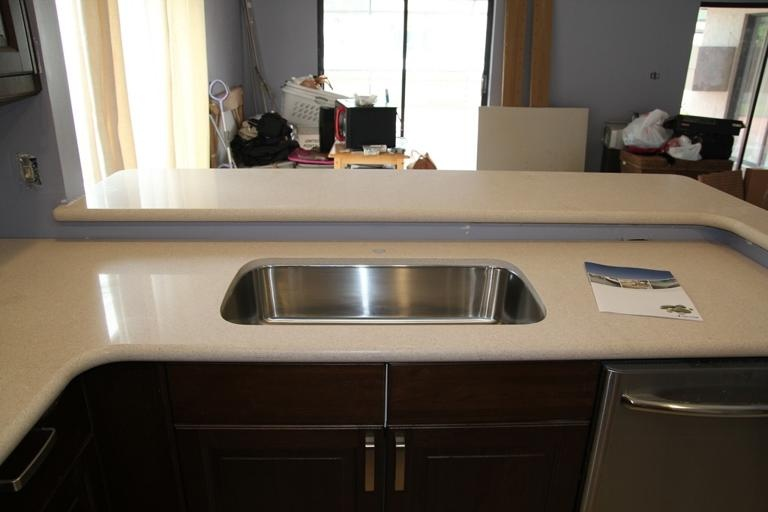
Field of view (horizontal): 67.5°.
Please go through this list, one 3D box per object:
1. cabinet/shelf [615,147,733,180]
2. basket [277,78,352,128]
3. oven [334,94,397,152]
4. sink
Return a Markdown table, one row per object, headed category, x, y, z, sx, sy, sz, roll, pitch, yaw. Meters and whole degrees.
| category | x | y | z | sx | sy | sz | roll | pitch | yaw |
| --- | --- | --- | --- | --- | --- | --- | --- | --- | --- |
| cabinet/shelf | 2.439 | -0.761 | 4.846 | 0.870 | 0.192 | 0.368 | 7 | 21 | 20 |
| basket | -0.602 | -1.336 | 5.094 | 0.536 | 0.302 | 0.390 | 4 | 47 | -11 |
| oven | -0.170 | -0.990 | 4.231 | 0.408 | 0.318 | 0.559 | -3 | 27 | -9 |
| sink | -0.005 | 0.143 | 1.893 | 0.963 | 0.235 | 0.198 | -1 | 20 | -1 |
